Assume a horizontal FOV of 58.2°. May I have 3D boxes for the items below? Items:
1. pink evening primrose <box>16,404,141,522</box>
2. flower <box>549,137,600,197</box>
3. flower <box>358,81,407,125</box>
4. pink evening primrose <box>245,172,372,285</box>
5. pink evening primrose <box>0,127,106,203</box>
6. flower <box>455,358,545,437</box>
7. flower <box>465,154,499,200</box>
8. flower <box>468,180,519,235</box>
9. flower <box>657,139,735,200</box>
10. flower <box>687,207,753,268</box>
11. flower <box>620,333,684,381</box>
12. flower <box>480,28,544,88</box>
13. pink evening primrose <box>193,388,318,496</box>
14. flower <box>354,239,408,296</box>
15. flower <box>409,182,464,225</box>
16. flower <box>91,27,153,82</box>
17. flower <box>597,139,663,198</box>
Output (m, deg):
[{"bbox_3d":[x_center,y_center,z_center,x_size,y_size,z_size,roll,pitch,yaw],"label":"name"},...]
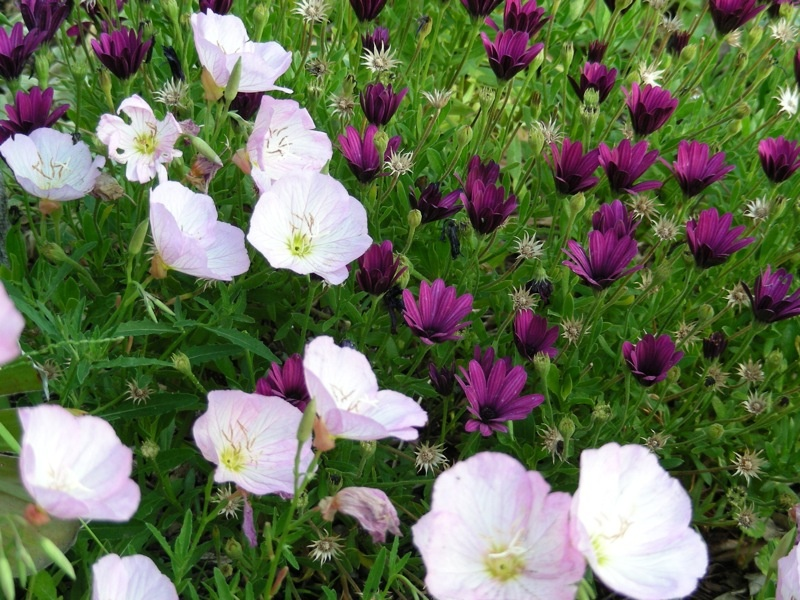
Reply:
[{"bbox_3d":[-0.553,0.295,1.262,0.207,0.163,0.166,9,60,-3],"label":"pink evening primrose"},{"bbox_3d":[0.457,-0.360,1.977,0.125,0.121,0.146,-1,26,-43],"label":"flower"},{"bbox_3d":[-0.057,-0.558,2.091,0.115,0.153,0.128,21,31,40],"label":"flower"},{"bbox_3d":[-0.208,-0.173,1.705,0.277,0.111,0.248,6,63,-6],"label":"pink evening primrose"},{"bbox_3d":[-0.876,-0.341,1.800,0.196,0.107,0.198,44,43,7],"label":"pink evening primrose"},{"bbox_3d":[0.233,0.226,1.733,0.175,0.095,0.180,-25,70,-19],"label":"flower"},{"bbox_3d":[0.214,-0.341,1.927,0.099,0.057,0.146,10,81,-29],"label":"flower"},{"bbox_3d":[0.241,-0.273,1.881,0.107,0.086,0.136,27,48,5],"label":"flower"},{"bbox_3d":[0.831,-0.368,2.038,0.134,0.126,0.080,21,59,4],"label":"flower"},{"bbox_3d":[0.852,-0.205,1.935,0.126,0.095,0.197,20,97,4],"label":"flower"},{"bbox_3d":[0.634,0.149,1.817,0.123,0.108,0.115,28,39,36],"label":"flower"},{"bbox_3d":[0.322,-0.712,2.130,0.142,0.101,0.156,21,52,11],"label":"flower"},{"bbox_3d":[-0.317,0.308,1.531,0.232,0.095,0.253,-24,85,-52],"label":"pink evening primrose"},{"bbox_3d":[-0.051,-0.067,1.843,0.106,0.098,0.144,-21,66,-26],"label":"flower"},{"bbox_3d":[0.096,-0.254,1.973,0.108,0.078,0.120,42,40,20],"label":"flower"},{"bbox_3d":[-0.779,-0.684,2.021,0.154,0.134,0.191,-28,30,-12],"label":"flower"},{"bbox_3d":[0.632,-0.385,2.023,0.128,0.108,0.166,16,8,-4],"label":"flower"}]
